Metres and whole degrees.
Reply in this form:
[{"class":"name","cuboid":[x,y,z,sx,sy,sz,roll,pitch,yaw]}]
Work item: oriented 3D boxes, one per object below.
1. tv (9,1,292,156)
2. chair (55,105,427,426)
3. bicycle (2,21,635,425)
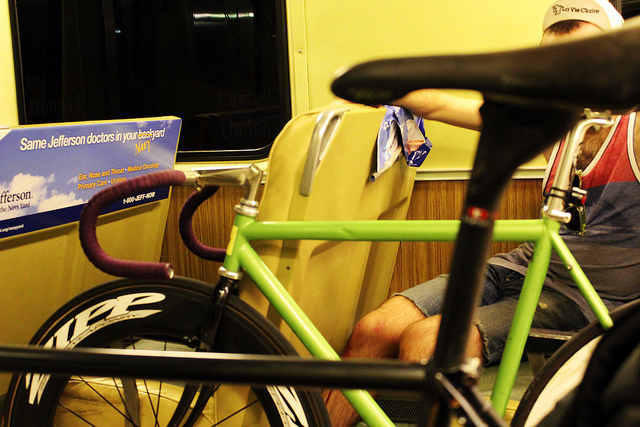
[{"class":"tv","cuboid":[-0.784,-0.694,2.594,0.828,0.665,0.036,-1,10,1]},{"class":"chair","cuboid":[-0.173,0.198,2.566,1.255,1.838,1.244,3,0,25]},{"class":"bicycle","cuboid":[0.044,0.006,1.455,1.219,0.836,0.760,4,4,15]}]
